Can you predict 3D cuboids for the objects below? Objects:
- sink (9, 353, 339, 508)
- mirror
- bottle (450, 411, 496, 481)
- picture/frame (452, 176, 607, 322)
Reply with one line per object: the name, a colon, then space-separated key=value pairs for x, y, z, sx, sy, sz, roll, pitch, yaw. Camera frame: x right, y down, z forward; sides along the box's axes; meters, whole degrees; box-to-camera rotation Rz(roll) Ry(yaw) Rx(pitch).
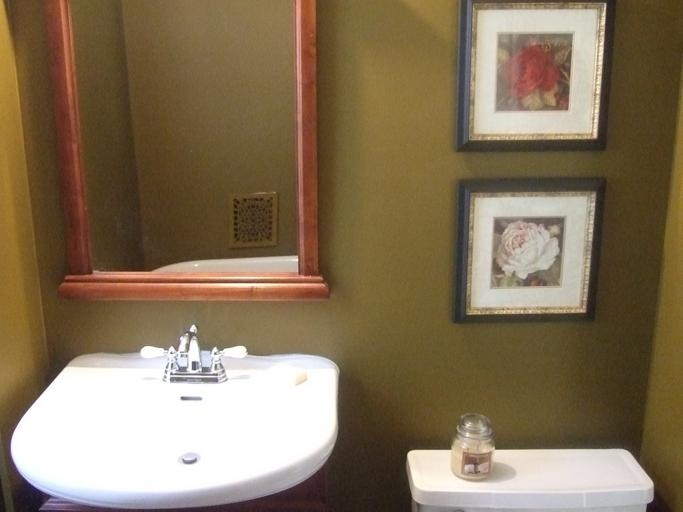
sink: x=-0.376 y=0.397 z=1.507 sx=0.737 sy=0.194 sz=0.486 roll=1 pitch=9 yaw=6
mirror: x=-0.400 y=-0.297 z=1.618 sx=0.681 sy=0.996 sz=0.066 roll=0 pitch=10 yaw=0
bottle: x=0.336 y=0.485 z=1.608 sx=0.105 sy=0.165 sz=0.062 roll=2 pitch=10 yaw=11
picture/frame: x=0.493 y=-0.034 z=1.665 sx=0.348 sy=0.388 sz=0.027 roll=0 pitch=10 yaw=-2
